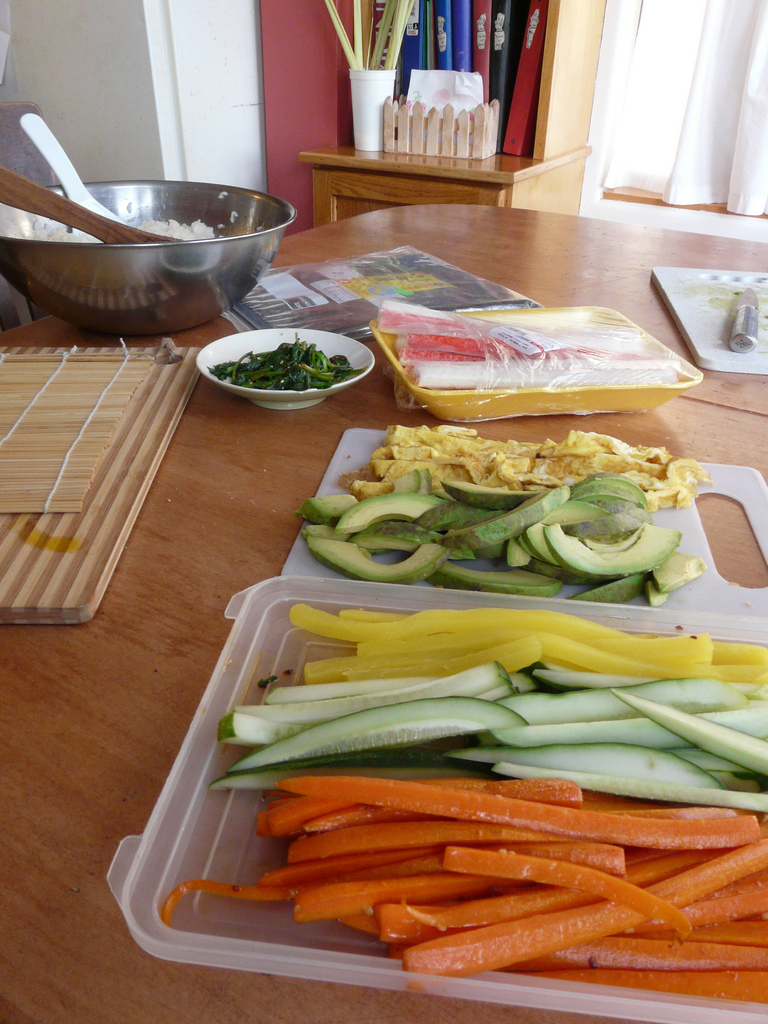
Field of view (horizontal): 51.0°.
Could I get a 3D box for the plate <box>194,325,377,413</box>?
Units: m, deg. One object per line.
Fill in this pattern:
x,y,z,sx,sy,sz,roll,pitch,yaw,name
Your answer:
-0.138,-0.197,1.141,0.243,0.080,0.214,-6,31,-10,plate

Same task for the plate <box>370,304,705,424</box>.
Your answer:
0.206,-0.225,1.178,0.433,0.093,0.343,-4,31,-7,plate
